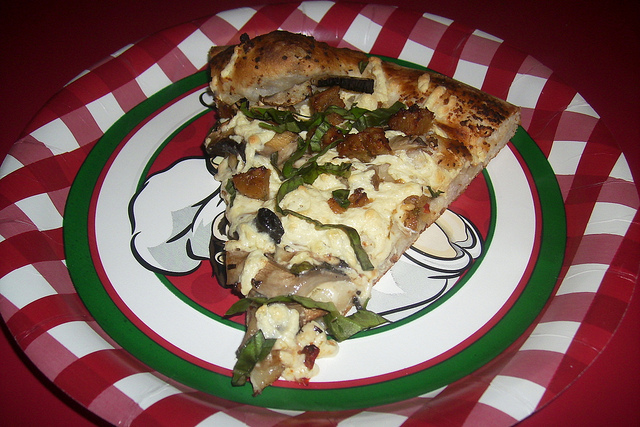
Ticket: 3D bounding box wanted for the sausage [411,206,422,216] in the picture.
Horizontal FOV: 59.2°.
[{"bbox_3d":[1.002,-0.038,5.785,0.095,0.022,0.091,3,87,-18],"label":"sausage"}]
